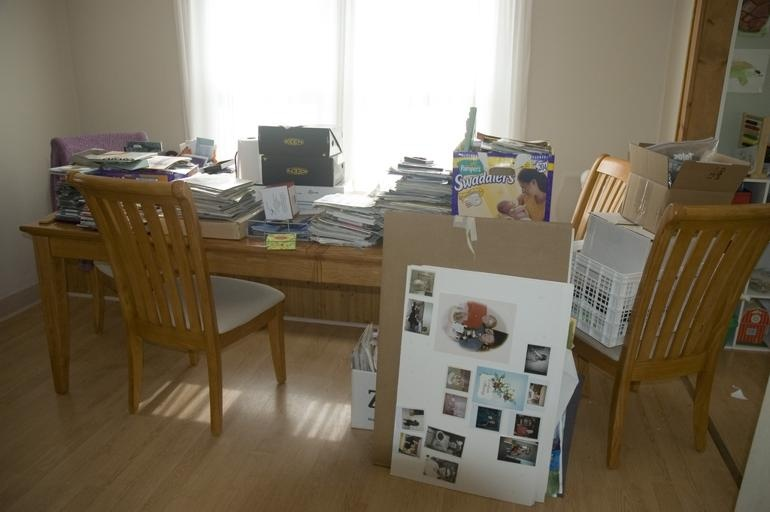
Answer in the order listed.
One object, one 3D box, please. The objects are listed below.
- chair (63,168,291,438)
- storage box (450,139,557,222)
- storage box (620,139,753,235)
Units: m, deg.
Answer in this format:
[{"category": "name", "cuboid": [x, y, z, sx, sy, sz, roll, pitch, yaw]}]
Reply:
[{"category": "chair", "cuboid": [-1.076, 0.190, 2.998, 0.781, 1.456, 0.901, 5, 18, 10]}, {"category": "storage box", "cuboid": [0.551, -0.372, 2.464, 0.370, 0.237, 0.375, 2, 14, 9]}, {"category": "storage box", "cuboid": [1.746, -0.379, 3.075, 0.593, 0.429, 0.522, 5, 20, 7]}]
